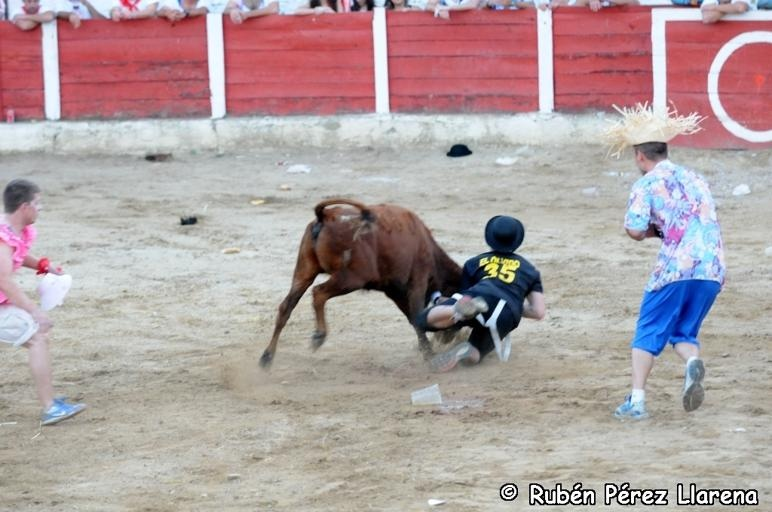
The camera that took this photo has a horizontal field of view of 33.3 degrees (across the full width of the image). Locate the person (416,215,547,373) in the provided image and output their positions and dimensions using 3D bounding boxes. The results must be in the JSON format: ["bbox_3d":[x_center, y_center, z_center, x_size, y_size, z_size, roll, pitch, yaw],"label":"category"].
[{"bbox_3d":[0.931,0.391,13.172,1.086,1.582,0.737,-8,13,-28],"label":"person"}]

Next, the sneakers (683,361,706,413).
[{"bbox_3d":[2.847,1.195,11.991,0.223,0.441,0.220,2,2,-3],"label":"sneakers"}]

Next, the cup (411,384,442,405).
[{"bbox_3d":[0.397,1.346,12.713,0.303,0.144,0.302,-1,11,0],"label":"cup"}]

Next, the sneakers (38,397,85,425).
[{"bbox_3d":[-3.149,1.470,12.511,0.531,0.213,0.181,-19,2,-9],"label":"sneakers"}]

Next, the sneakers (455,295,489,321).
[{"bbox_3d":[0.844,0.513,12.860,0.335,0.239,0.158,-2,12,-3],"label":"sneakers"}]

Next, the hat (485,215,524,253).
[{"bbox_3d":[1.200,-0.241,13.245,0.380,0.364,0.150,0,-6,5],"label":"hat"}]

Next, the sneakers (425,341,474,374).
[{"bbox_3d":[0.651,1.036,13.243,0.432,0.156,0.263,-25,-15,29],"label":"sneakers"}]

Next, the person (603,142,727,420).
[{"bbox_3d":[2.690,0.214,12.169,0.927,2.559,0.609,0,12,11],"label":"person"}]

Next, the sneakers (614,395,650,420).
[{"bbox_3d":[2.316,1.426,12.216,0.174,0.176,0.334,0,0,-30],"label":"sneakers"}]
